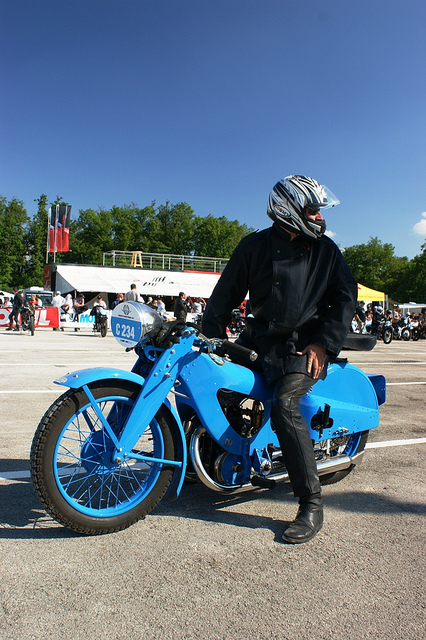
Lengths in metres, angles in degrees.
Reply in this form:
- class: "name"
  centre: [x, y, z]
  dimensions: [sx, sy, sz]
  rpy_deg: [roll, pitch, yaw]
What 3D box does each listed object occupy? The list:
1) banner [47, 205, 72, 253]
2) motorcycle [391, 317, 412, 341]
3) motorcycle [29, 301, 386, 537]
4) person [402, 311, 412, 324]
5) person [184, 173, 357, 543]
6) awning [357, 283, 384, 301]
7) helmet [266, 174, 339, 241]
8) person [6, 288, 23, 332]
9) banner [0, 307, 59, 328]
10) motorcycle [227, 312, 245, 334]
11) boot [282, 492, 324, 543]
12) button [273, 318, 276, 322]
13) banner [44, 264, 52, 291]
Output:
- class: "banner"
  centre: [-11.652, -6.900, 38.919]
  dimensions: [1.445, 2.858, 1.612]
  rpy_deg: [4, 1, -19]
- class: "motorcycle"
  centre: [9.714, 0.505, 26.491]
  dimensions: [0.724, 1.178, 1.008]
  rpy_deg: [5, 1, 38]
- class: "motorcycle"
  centre: [-0.031, 0.527, 3.029]
  dimensions: [2.328, 1.053, 0.955]
  rpy_deg: [3, -2, -36]
- class: "person"
  centre: [10.361, -0.064, 27.560]
  dimensions: [0.515, 0.585, 1.000]
  rpy_deg: [0, -5, 36]
- class: "person"
  centre: [0.311, 0.122, 2.960]
  dimensions: [1.187, 1.852, 1.251]
  rpy_deg: [-2, 5, -18]
- class: "awning"
  centre: [9.970, -1.649, 32.565]
  dimensions: [1.500, 1.096, 3.627]
  rpy_deg: [4, 1, 16]
- class: "helmet"
  centre: [0.509, -0.642, 2.950]
  dimensions: [0.445, 0.353, 0.311]
  rpy_deg: [3, 17, 1]
- class: "person"
  centre: [-7.621, -0.341, 19.778]
  dimensions: [0.483, 1.228, 1.680]
  rpy_deg: [4, 1, -21]
- class: "banner"
  centre: [-7.494, -0.122, 21.019]
  dimensions: [1.805, 0.802, 0.885]
  rpy_deg: [1, 0, 24]
- class: "motorcycle"
  centre: [1.119, 0.156, 23.794]
  dimensions: [0.599, 0.934, 0.611]
  rpy_deg: [4, -2, 19]
- class: "boot"
  centre: [0.466, 1.007, 2.640]
  dimensions: [0.119, 0.231, 0.273]
  rpy_deg: [5, 1, 32]
- class: "button"
  centre: [0.336, 0.000, 2.816]
  dimensions: [0.017, 0.016, 0.004]
  rpy_deg: [10, 8, 17]
- class: "banner"
  centre: [-11.166, -2.859, 34.688]
  dimensions: [0.300, 1.329, 1.847]
  rpy_deg: [4, 1, -23]
